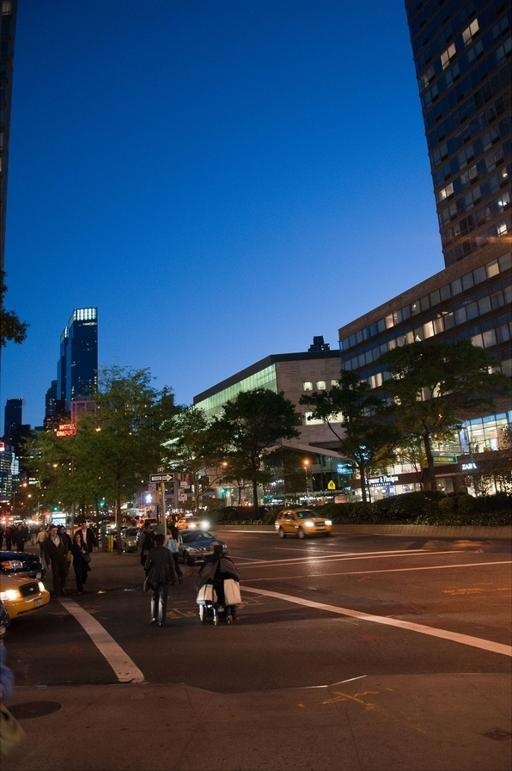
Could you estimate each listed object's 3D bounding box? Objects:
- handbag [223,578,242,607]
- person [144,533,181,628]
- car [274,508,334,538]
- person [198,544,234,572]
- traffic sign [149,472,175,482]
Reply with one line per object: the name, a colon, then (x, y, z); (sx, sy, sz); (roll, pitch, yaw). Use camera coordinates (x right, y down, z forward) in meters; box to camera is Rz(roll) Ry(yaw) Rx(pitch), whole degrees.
handbag: (-0.399, 3.615, 10.833); (0.295, 0.484, 0.272); (-3, -9, -7)
person: (-1.740, 3.514, 11.362); (0.536, 1.554, 1.307); (-3, -9, -8)
car: (2.833, 8.343, 37.467); (1.361, 1.663, 4.061); (0, -10, -26)
person: (-0.702, 3.011, 11.148); (0.485, 0.231, 0.821); (-3, -2, 1)
traffic sign: (-3.438, 3.384, 22.838); (0.796, 0.352, 1.518); (-2, -9, -11)
